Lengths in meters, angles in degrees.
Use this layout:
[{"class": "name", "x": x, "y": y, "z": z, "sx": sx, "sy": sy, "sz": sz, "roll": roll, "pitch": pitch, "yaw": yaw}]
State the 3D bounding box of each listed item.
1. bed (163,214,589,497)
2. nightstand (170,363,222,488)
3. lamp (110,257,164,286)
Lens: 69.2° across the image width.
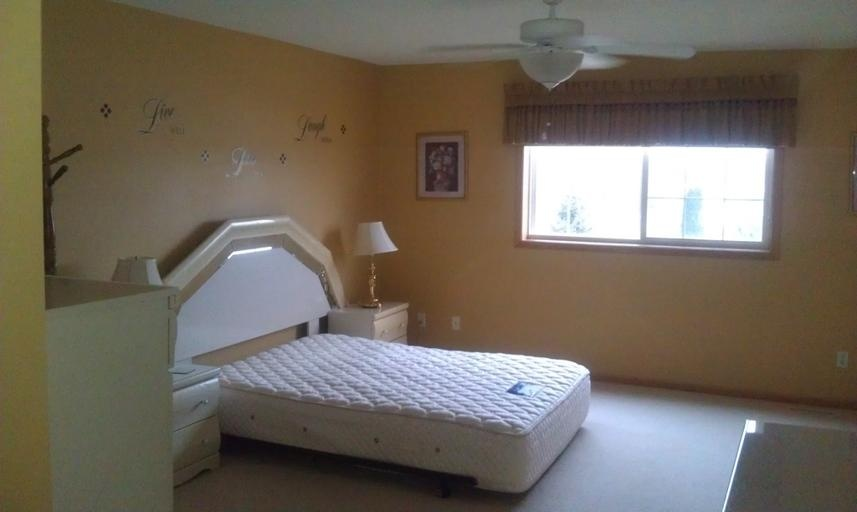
[{"class": "bed", "x": -0.199, "y": 0.544, "z": 4.721, "sx": 2.777, "sy": 1.595, "sz": 1.924, "roll": 4, "pitch": 7, "yaw": 15}, {"class": "nightstand", "x": -1.506, "y": 1.060, "z": 3.964, "sx": 0.350, "sy": 0.688, "sz": 0.256, "roll": -5, "pitch": 10, "yaw": -44}, {"class": "lamp", "x": -1.748, "y": 0.088, "z": 3.760, "sx": 0.257, "sy": 0.157, "sz": 0.221, "roll": 7, "pitch": 8, "yaw": 39}]
